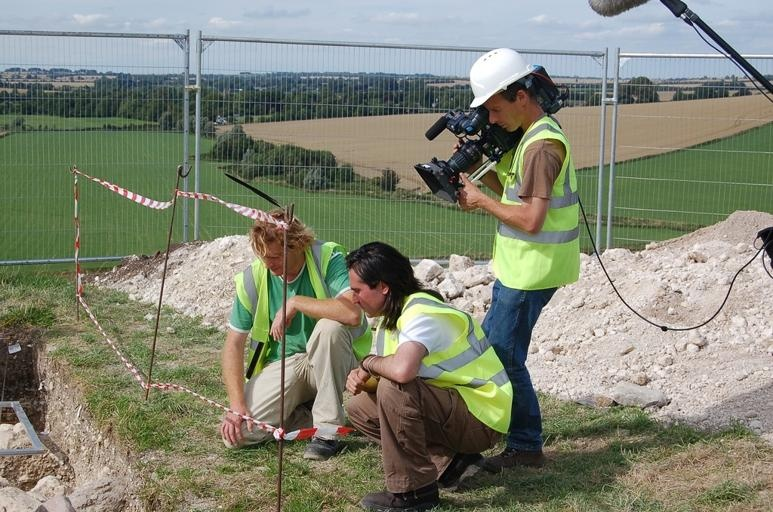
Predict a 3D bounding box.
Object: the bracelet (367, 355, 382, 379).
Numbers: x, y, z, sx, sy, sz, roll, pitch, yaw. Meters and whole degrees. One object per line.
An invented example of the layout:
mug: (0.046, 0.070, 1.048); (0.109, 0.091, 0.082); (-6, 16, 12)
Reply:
bracelet: (-0.076, 0.971, 8.774); (0.057, 0.170, 0.139); (-2, 4, 13)

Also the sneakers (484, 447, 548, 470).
sneakers: (1.202, 1.831, 9.305); (0.570, 0.283, 0.211); (2, -4, -2)

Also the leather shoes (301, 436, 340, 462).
leather shoes: (-0.604, 1.831, 9.501); (0.155, 0.172, 0.367); (-2, -7, 32)
